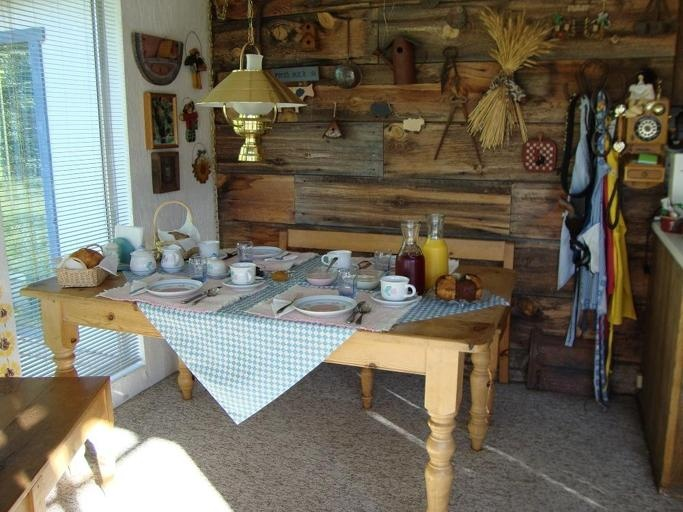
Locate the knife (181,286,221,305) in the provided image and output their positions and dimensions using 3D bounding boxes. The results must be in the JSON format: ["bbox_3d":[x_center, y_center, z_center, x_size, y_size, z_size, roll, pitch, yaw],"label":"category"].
[{"bbox_3d":[-0.593,0.164,2.182,0.045,0.021,0.158,4,12,18],"label":"knife"}]

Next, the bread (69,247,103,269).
[{"bbox_3d":[-1.193,0.007,2.387,0.126,0.067,0.114,-2,3,-10],"label":"bread"}]

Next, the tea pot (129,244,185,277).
[{"bbox_3d":[-0.890,0.025,2.497,0.251,0.107,0.136,0,6,-14],"label":"tea pot"}]

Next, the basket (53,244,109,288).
[{"bbox_3d":[-1.196,0.030,2.397,0.213,0.133,0.224,5,6,0],"label":"basket"}]

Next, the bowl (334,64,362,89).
[{"bbox_3d":[0.040,-1.201,3.452,0.189,0.153,0.041,11,26,16],"label":"bowl"}]

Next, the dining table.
[{"bbox_3d":[-0.207,0.470,2.904,2.154,0.927,1.752,6,15,19],"label":"dining table"}]

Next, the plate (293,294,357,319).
[{"bbox_3d":[-0.067,0.192,2.050,0.247,0.031,0.258,-5,14,-21],"label":"plate"}]

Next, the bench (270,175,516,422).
[{"bbox_3d":[0.330,0.233,2.643,1.795,0.855,0.636,4,14,16],"label":"bench"}]

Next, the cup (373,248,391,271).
[{"bbox_3d":[0.194,0.025,2.578,0.110,0.085,0.094,2,6,23],"label":"cup"}]

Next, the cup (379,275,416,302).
[{"bbox_3d":[0.223,0.132,2.135,0.098,0.065,0.144,-8,12,-37],"label":"cup"}]

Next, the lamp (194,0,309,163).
[{"bbox_3d":[-0.448,-0.834,2.330,0.392,0.789,1.139,-4,15,-14],"label":"lamp"}]

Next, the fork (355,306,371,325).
[{"bbox_3d":[0.078,0.228,1.965,0.026,0.014,0.109,4,18,9],"label":"fork"}]
